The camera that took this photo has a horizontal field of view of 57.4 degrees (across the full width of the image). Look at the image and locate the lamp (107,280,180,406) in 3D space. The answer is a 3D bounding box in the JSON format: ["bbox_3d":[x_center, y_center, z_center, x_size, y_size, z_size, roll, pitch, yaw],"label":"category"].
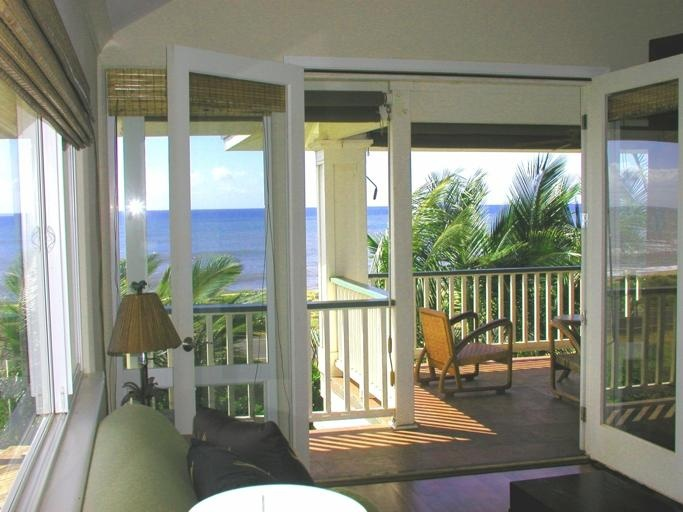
[{"bbox_3d":[-1.049,0.491,3.370,0.357,0.766,0.635,-3,6,-16],"label":"lamp"}]

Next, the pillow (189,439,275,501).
[{"bbox_3d":[-0.430,0.794,2.264,0.393,0.158,0.195,2,7,38],"label":"pillow"}]

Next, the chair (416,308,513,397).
[{"bbox_3d":[1.184,0.852,5.857,0.854,0.917,0.790,-3,4,-13],"label":"chair"}]
